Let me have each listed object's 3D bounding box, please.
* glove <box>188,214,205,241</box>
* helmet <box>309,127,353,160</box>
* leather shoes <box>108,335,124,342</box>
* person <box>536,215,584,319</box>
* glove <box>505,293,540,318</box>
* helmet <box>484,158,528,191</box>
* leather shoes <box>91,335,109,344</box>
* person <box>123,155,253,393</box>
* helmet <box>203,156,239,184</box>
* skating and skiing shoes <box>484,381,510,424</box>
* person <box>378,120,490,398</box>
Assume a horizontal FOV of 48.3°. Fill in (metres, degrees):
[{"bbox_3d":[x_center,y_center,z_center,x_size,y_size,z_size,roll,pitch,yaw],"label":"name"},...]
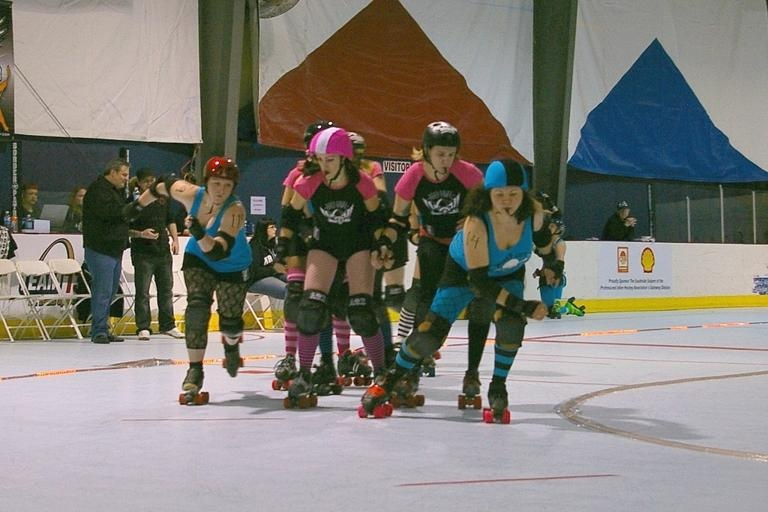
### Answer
[{"bbox_3d":[-1.831,-0.278,8.311,0.064,0.214,0.161,-21,42,12],"label":"glove"},{"bbox_3d":[-0.512,-1.114,8.418,0.314,0.235,0.312,-8,12,-34],"label":"helmet"},{"bbox_3d":[-4.158,1.275,13.253,0.235,0.093,0.086,1,-1,-9],"label":"leather shoes"},{"bbox_3d":[2.774,0.275,13.306,0.669,2.092,0.759,-1,15,-2],"label":"person"},{"bbox_3d":[1.294,0.470,7.851,0.190,0.091,0.268,23,0,32],"label":"glove"},{"bbox_3d":[1.128,-0.755,7.964,0.404,0.280,0.312,0,5,4],"label":"helmet"},{"bbox_3d":[-4.324,1.268,13.038,0.280,0.119,0.105,-13,-10,40],"label":"leather shoes"},{"bbox_3d":[-1.924,0.249,8.789,1.047,2.540,0.886,1,-1,-43],"label":"person"},{"bbox_3d":[-1.618,-0.887,8.507,0.227,0.332,0.279,2,23,-16],"label":"helmet"},{"bbox_3d":[1.068,1.356,8.064,0.262,0.356,0.300,0,5,6],"label":"skating and skiing shoes"},{"bbox_3d":[0.603,0.042,8.884,0.957,2.686,0.980,-3,2,-25],"label":"person"}]
